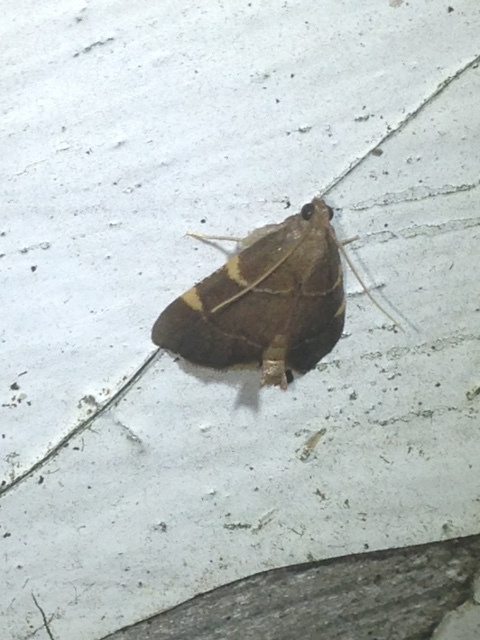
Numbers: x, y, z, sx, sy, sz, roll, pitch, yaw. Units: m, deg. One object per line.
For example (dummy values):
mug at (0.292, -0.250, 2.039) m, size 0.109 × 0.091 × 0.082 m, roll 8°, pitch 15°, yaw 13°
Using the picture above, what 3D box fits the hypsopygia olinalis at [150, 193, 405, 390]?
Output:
hypsopygia olinalis at (0.116, -0.117, 3.554) m, size 1.015 × 0.672 × 0.246 m, roll 14°, pitch 5°, yaw -2°
